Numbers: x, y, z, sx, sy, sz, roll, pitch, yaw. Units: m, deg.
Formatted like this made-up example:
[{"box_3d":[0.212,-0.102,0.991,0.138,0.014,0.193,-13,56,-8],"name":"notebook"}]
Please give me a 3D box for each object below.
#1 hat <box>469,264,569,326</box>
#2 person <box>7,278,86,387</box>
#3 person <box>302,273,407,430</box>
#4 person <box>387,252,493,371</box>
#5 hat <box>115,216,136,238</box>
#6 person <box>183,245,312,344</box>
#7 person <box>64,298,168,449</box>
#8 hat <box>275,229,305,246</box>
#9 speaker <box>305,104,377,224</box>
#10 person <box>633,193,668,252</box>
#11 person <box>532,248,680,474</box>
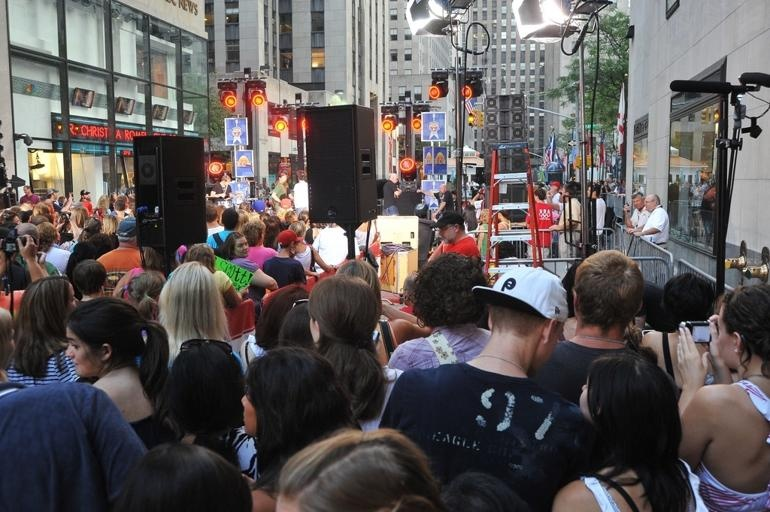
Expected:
[{"box_3d":[0.799,0.204,4.120,0.474,0.261,0.302,28,-6,-31],"name":"hat"},{"box_3d":[-2.472,0.590,5.182,0.622,1.003,0.418,1,3,25],"name":"person"},{"box_3d":[-0.202,0.629,4.490,0.374,1.385,0.598,-10,27,-3],"name":"person"},{"box_3d":[0.428,0.445,5.368,0.703,1.261,0.432,2,9,9],"name":"person"},{"box_3d":[-3.103,-0.389,8.534,0.185,0.164,0.282,-1,30,-10],"name":"hat"},{"box_3d":[-1.780,0.414,7.985,0.806,0.452,1.068,21,-2,32],"name":"person"},{"box_3d":[-1.861,0.779,4.935,0.578,1.186,0.795,-10,39,-33],"name":"person"},{"box_3d":[-1.206,-0.237,9.060,0.195,0.202,0.421,4,8,24],"name":"hat"},{"box_3d":[-0.540,-1.111,8.793,0.898,1.498,0.541,-1,7,-9],"name":"speaker"},{"box_3d":[5.008,-0.609,13.394,0.643,1.252,1.102,1,-10,10],"name":"person"},{"box_3d":[1.497,0.473,4.886,0.803,1.076,0.538,1,21,-5],"name":"person"}]
